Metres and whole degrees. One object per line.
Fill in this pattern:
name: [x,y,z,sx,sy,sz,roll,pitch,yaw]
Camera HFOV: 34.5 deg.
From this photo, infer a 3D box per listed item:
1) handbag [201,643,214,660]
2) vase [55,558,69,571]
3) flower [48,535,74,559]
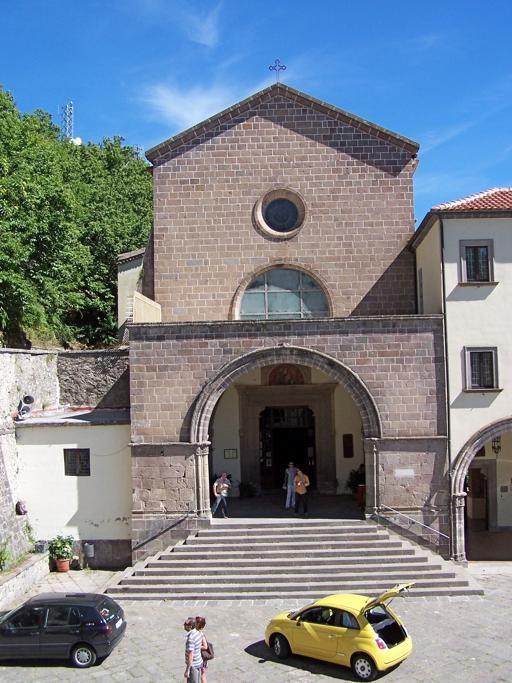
handbag: [-0.866,5.597,14.882,0.171,0.323,0.462,-1,-6,3]
vase: [-5.581,6.428,23.787,0.408,0.268,0.375,-1,-13,-4]
flower: [-5.634,5.956,24.046,0.814,0.702,0.620,4,-5,-5]
